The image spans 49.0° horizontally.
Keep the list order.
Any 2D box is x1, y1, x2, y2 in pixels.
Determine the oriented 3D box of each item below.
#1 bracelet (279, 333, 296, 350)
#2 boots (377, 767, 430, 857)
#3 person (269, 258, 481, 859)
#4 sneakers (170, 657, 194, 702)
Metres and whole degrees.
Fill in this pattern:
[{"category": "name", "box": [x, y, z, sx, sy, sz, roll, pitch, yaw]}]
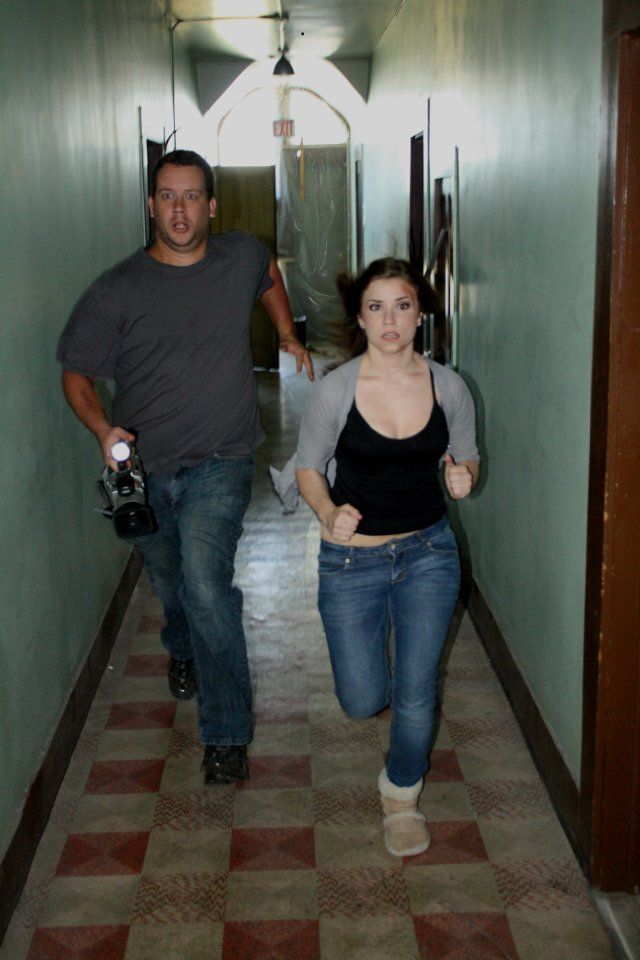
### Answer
[{"category": "bracelet", "box": [-0.118, -0.534, 2.637, 0.039, 0.044, 0.149, -30, 21, 10]}, {"category": "boots", "box": [0.210, 0.860, 1.773, 0.083, 0.107, 0.246, -2, -10, 0]}, {"category": "person", "box": [0.200, 0.201, 1.690, 0.465, 1.473, 0.375, -2, 2, -18]}, {"category": "sneakers", "box": [-0.545, 0.783, 2.825, 0.065, 0.142, 0.198, 0, 5, -5]}]
